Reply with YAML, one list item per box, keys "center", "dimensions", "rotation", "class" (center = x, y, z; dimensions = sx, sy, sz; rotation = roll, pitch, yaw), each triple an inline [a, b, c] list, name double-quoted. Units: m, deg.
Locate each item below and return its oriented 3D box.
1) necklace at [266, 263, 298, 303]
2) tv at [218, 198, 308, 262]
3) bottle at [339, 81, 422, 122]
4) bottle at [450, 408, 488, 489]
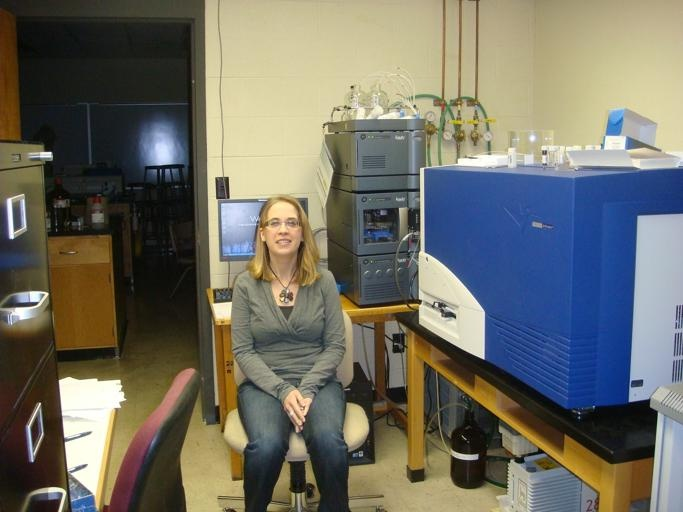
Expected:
- center: [-0.274, 0.126, 2.565]
  dimensions: [0.149, 0.232, 0.016]
  rotation: [-3, -16, 1]
  class: "necklace"
- center: [-0.414, -0.147, 2.893]
  dimensions: [0.333, 0.264, 0.027]
  rotation: [0, 1, -5]
  class: "tv"
- center: [0.187, -0.895, 3.250]
  dimensions: [0.383, 0.181, 0.410]
  rotation: [0, 15, 0]
  class: "bottle"
- center: [0.674, 1.003, 2.934]
  dimensions: [0.185, 0.427, 0.197]
  rotation: [-2, 9, 0]
  class: "bottle"
